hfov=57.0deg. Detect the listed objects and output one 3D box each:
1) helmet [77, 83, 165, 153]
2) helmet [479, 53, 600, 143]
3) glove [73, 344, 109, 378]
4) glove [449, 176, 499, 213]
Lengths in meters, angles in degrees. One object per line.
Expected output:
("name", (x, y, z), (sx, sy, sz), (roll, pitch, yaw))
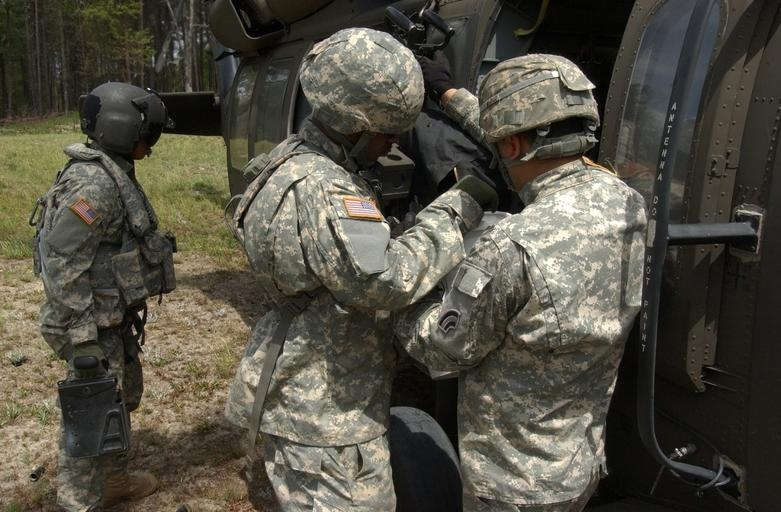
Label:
("helmet", (-1.813, -0.925, 4.925), (0.530, 0.449, 0.426), (20, 3, -32))
("helmet", (0.733, -0.839, 3.587), (0.398, 0.402, 0.517), (-10, 19, -19))
("glove", (-1.914, 0.666, 4.534), (0.167, 0.143, 0.232), (-4, -6, -16))
("glove", (0.463, -0.339, 3.965), (0.203, 0.183, 0.193), (-16, 21, -22))
